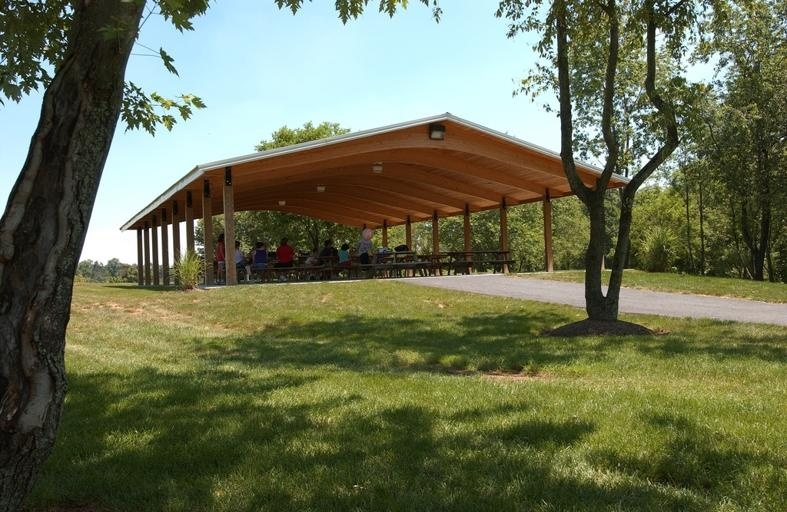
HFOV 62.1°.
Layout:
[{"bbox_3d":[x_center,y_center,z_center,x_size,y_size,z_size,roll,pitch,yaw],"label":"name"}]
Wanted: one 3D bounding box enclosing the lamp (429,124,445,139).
[{"bbox_3d":[1.430,-4.243,22.496,0.553,0.610,0.430,3,17,-4],"label":"lamp"}]
